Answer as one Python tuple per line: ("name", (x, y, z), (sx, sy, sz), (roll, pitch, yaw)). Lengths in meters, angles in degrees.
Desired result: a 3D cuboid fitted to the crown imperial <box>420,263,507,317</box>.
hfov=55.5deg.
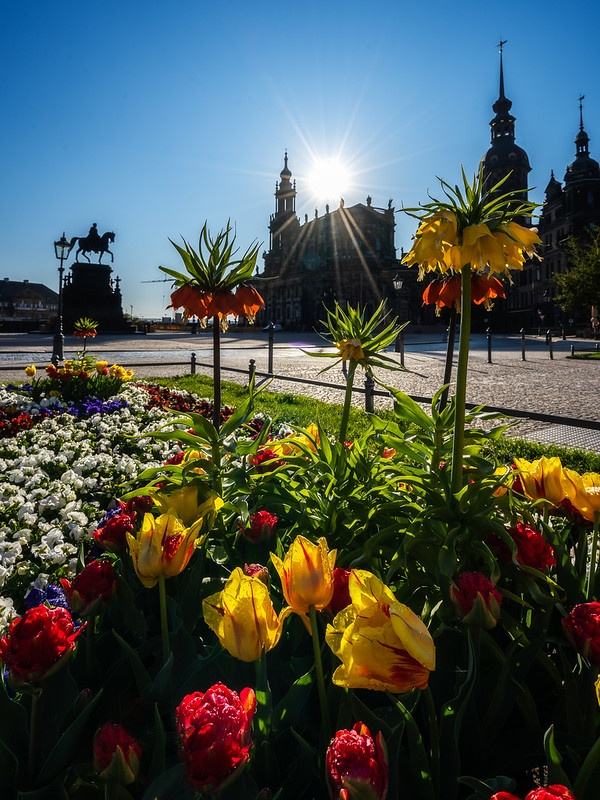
("crown imperial", (0.616, -0.407, 2.146), (0.249, 0.137, 0.259), (-5, 4, 5))
